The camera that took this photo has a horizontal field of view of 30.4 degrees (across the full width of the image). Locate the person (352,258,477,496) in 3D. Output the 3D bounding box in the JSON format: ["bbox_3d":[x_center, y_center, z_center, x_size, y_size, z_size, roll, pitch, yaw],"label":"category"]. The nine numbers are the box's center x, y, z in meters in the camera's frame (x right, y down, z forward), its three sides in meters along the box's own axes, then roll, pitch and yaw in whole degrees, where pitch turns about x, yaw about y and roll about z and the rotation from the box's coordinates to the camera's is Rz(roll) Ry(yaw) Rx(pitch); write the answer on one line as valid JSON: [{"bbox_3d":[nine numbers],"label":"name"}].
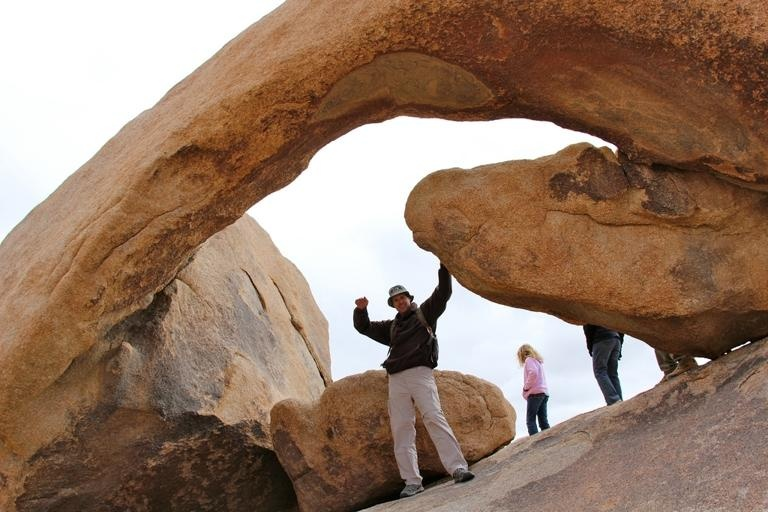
[{"bbox_3d":[0.363,1.181,12.874,1.003,1.938,0.323,-23,-19,24],"label":"person"}]

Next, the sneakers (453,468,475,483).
[{"bbox_3d":[0.701,1.937,12.437,0.086,0.089,0.202,-25,3,-41],"label":"sneakers"}]
